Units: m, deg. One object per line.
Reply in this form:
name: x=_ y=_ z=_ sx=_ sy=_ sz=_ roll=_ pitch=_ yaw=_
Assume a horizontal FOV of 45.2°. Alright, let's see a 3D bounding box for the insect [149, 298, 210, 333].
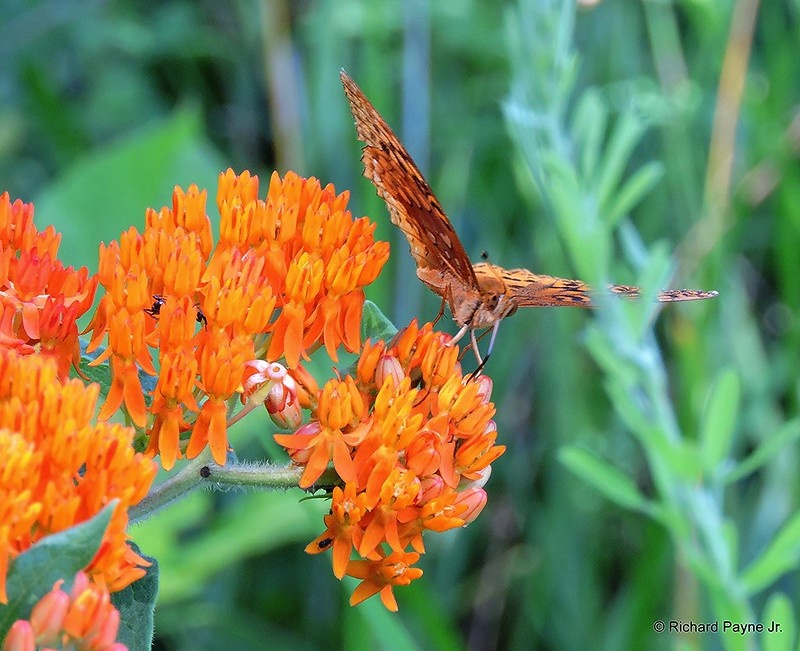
insect: x=-0.363 y=-0.026 z=1.590 sx=0.073 sy=0.023 sz=0.055 roll=35 pitch=4 yaw=-8
